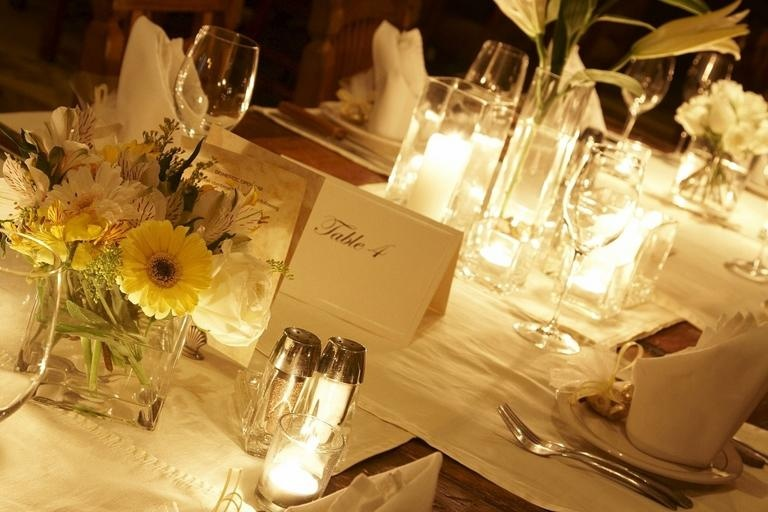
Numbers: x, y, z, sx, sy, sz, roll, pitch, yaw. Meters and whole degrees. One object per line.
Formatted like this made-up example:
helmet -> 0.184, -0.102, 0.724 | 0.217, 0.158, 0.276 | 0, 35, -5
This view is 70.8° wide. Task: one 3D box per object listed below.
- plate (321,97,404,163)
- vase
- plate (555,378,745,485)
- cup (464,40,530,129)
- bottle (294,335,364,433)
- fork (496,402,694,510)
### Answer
plate -> -0.072, -0.354, 1.540 | 0.221, 0.045, 0.158 | 33, 30, 5
vase -> -0.326, 0.098, 0.650 | 0.148, 0.203, 0.171 | 13, -11, -20
plate -> 0.348, 0.256, 0.715 | 0.163, 0.028, 0.163 | 19, 19, 18
cup -> 0.294, -0.450, 1.479 | 0.171, 0.240, 0.172 | 17, 19, -6
bottle -> -0.053, 0.149, 0.628 | 0.056, 0.097, 0.053 | 15, 16, -5
fork -> 0.276, 0.262, 0.692 | 0.237, 0.035, 0.031 | 23, 31, 23
